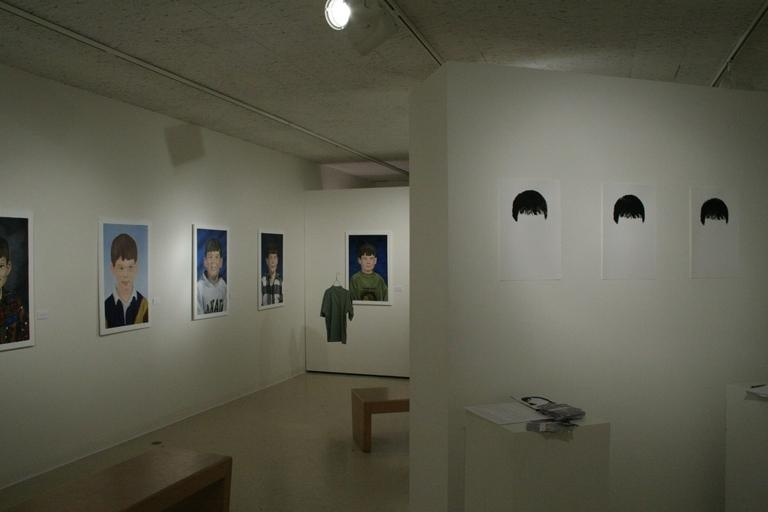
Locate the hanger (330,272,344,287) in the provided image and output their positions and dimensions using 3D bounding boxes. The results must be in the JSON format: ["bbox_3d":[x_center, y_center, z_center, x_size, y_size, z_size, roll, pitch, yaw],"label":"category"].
[{"bbox_3d":[-0.881,0.438,10.723,0.245,0.294,0.012,-2,-4,9],"label":"hanger"}]

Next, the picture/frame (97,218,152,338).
[{"bbox_3d":[-3.349,0.264,7.341,0.078,1.177,0.736,0,1,26],"label":"picture/frame"}]

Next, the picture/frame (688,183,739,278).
[{"bbox_3d":[3.158,-0.223,5.442,0.517,0.838,0.099,-1,1,-19],"label":"picture/frame"}]

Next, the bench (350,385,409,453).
[{"bbox_3d":[-0.049,2.116,7.467,0.734,0.619,0.786,-1,1,-9],"label":"bench"}]

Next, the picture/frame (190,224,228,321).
[{"bbox_3d":[-2.641,0.232,8.622,0.135,1.001,0.777,-1,1,18],"label":"picture/frame"}]
